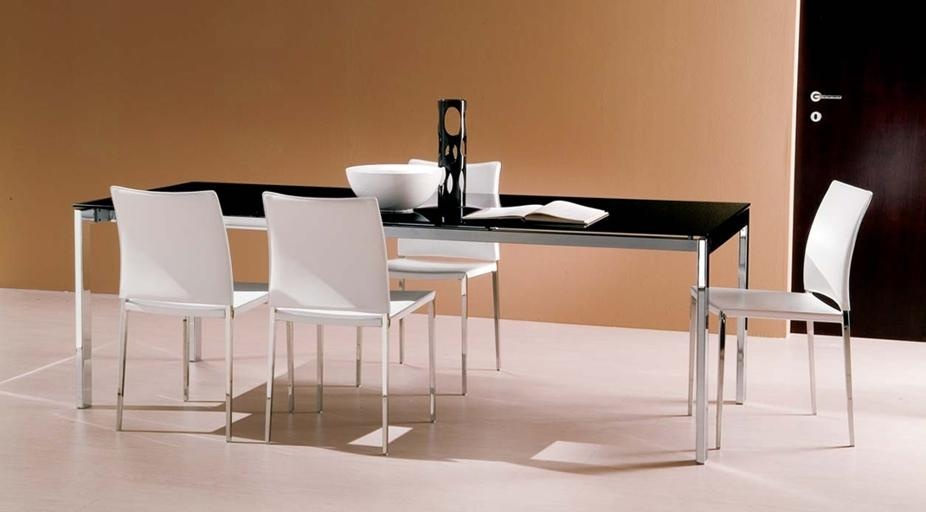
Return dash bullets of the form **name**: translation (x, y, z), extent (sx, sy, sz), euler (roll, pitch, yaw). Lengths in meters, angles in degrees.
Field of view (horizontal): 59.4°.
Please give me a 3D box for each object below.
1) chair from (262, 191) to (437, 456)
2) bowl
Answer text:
- **chair**: translation (-0.621, 0.355, 4.494), extent (0.915, 1.371, 0.626), euler (1, 2, -7)
- **bowl**: translation (-0.439, -0.345, 4.661), extent (0.390, 0.150, 0.380), euler (0, 1, 0)
